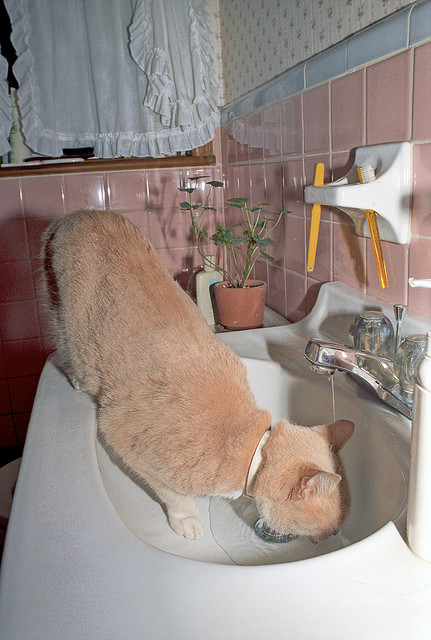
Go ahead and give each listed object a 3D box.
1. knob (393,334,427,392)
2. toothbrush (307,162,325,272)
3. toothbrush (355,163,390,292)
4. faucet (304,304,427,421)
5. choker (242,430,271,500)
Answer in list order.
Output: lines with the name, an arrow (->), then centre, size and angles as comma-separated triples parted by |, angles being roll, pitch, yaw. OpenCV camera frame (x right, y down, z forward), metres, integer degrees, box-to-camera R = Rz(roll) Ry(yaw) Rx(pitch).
knob -> 0.193, 0.044, 0.484 | 0.046, 0.052, 0.038 | 1, 24, 24
toothbrush -> 0.166, -0.166, 0.812 | 0.013, 0.181, 0.020 | 8, 12, 23
toothbrush -> 0.227, -0.120, 0.692 | 0.043, 0.195, 0.033 | -9, 13, 19
faucet -> 0.167, 0.020, 0.587 | 0.126, 0.091, 0.175 | -1, 10, -3
choker -> 0.053, 0.185, 0.631 | 0.026, 0.073, 0.055 | 11, 21, 26
